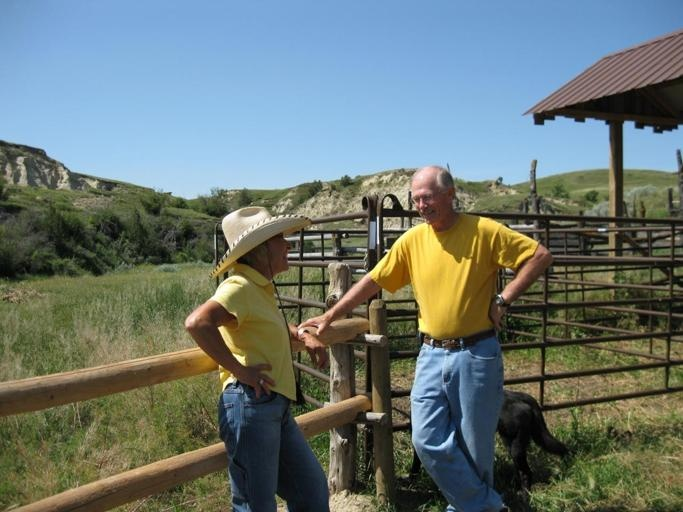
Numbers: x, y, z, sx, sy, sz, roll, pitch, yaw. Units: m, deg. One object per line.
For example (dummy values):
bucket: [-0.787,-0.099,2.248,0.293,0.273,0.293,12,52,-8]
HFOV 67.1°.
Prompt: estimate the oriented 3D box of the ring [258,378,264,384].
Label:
ring: [-0.527,0.814,3.373,0.029,0.031,0.007,-2,-11,-21]
